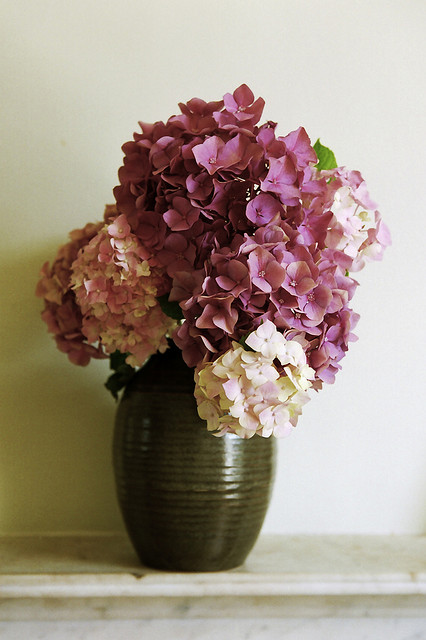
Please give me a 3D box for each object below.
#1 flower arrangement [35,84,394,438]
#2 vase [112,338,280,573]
[{"bbox_3d":[0.044,-0.074,0.789,0.360,0.379,0.221,0,9,-22],"label":"flower arrangement"},{"bbox_3d":[-0.038,0.167,0.855,0.181,0.277,0.159,8,9,33],"label":"vase"}]
